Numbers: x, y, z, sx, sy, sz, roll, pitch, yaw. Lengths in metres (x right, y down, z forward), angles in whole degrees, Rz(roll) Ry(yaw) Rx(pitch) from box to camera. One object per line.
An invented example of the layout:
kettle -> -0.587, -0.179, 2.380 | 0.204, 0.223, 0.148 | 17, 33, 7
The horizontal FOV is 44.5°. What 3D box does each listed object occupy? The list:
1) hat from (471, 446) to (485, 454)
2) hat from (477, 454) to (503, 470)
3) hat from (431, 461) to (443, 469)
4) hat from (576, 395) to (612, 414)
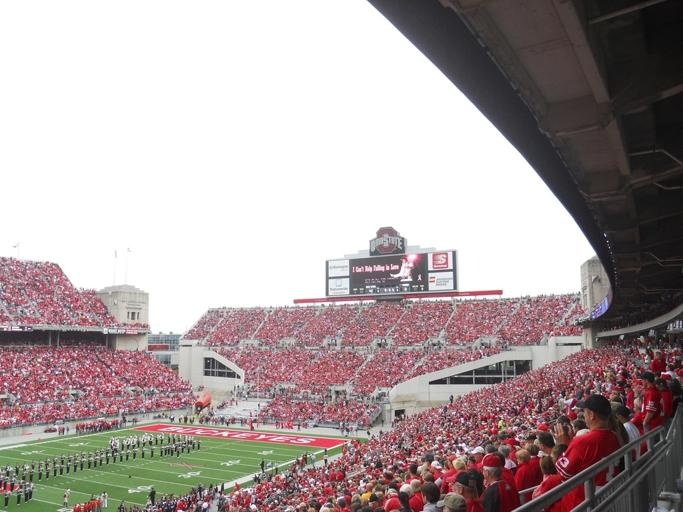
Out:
hat -> 3.083, 4.438, 18.810 | 0.320, 0.148, 0.246 | 0, -12, 5
hat -> 2.933, 4.109, 16.440 | 0.268, 0.213, 0.345 | 3, 5, -35
hat -> 2.373, 5.232, 20.712 | 0.159, 0.138, 0.246 | 4, -24, -14
hat -> 4.942, 2.888, 16.306 | 0.339, 0.263, 0.445 | -9, 13, -41
